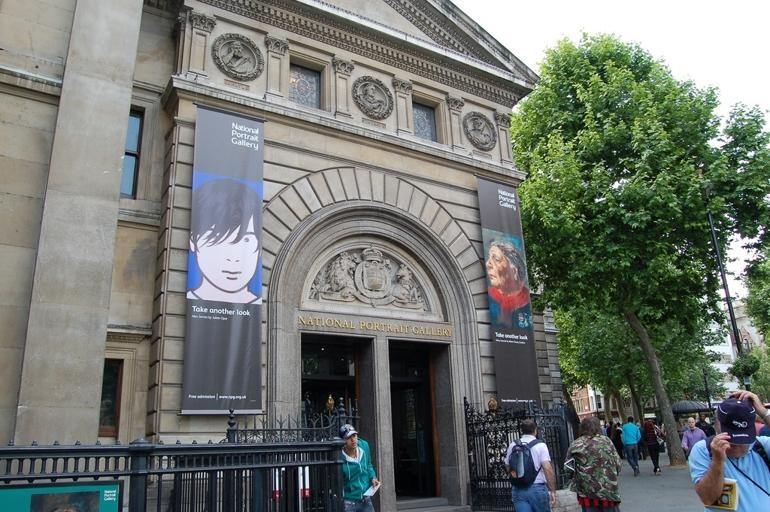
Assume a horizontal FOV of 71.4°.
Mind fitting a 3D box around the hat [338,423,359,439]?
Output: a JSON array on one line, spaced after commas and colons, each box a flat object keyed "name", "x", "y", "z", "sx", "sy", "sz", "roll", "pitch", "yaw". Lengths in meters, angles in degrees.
[{"name": "hat", "x": -0.769, "y": 3.438, "z": 10.500, "sx": 0.244, "sy": 0.295, "sz": 0.481, "roll": -11, "pitch": -21, "yaw": 20}]

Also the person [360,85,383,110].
[{"name": "person", "x": -0.461, "y": -5.812, "z": 19.586, "sx": 0.722, "sy": 0.938, "sz": 0.431, "roll": -8, "pitch": -8, "yaw": -43}]

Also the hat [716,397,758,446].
[{"name": "hat", "x": 4.203, "y": 1.888, "z": 6.374, "sx": 0.434, "sy": 0.275, "sz": 0.663, "roll": -3, "pitch": 19, "yaw": 29}]
